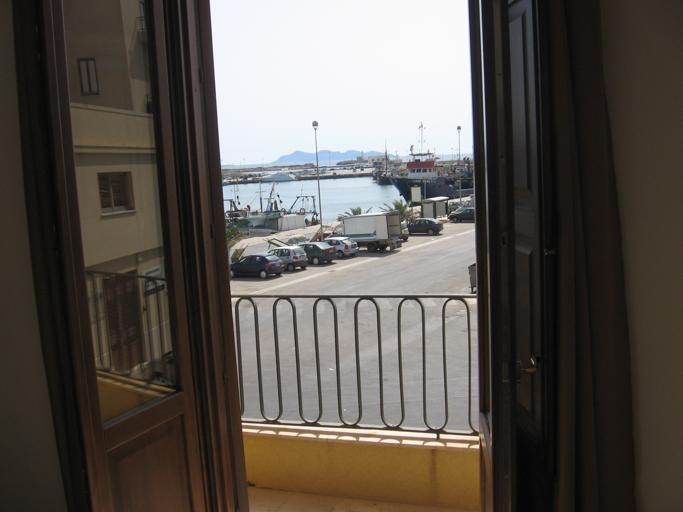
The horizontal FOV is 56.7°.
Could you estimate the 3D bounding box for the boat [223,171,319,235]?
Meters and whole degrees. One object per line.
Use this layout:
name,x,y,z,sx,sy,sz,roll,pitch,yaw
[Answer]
boat,-4.505,-3.112,44.187,7.387,3.106,2.205,-6,-2,-37

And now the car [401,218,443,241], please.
car,4.580,-1.495,34.972,1.701,0.707,1.002,7,10,24

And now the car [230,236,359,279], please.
car,-1.838,0.084,25.745,2.005,1.242,5.849,1,12,36

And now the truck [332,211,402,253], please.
truck,1.401,-1.123,29.049,2.469,1.647,1.552,6,10,27
